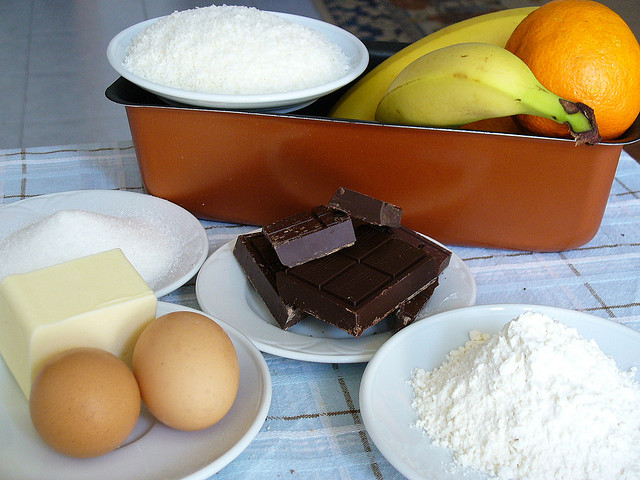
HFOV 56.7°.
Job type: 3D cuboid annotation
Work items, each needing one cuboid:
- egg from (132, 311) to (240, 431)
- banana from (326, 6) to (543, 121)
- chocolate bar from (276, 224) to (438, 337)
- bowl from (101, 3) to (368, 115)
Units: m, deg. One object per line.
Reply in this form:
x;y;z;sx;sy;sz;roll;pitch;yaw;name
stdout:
-0.132;0.126;0.581;0.103;0.056;0.098;18;55;14;egg
0.161;-0.281;0.906;0.260;0.197;0.224;2;29;17;banana
0.044;0.048;0.774;0.186;0.102;0.174;15;27;33;chocolate bar
-0.121;-0.281;0.866;0.380;0.094;0.294;1;53;2;bowl
